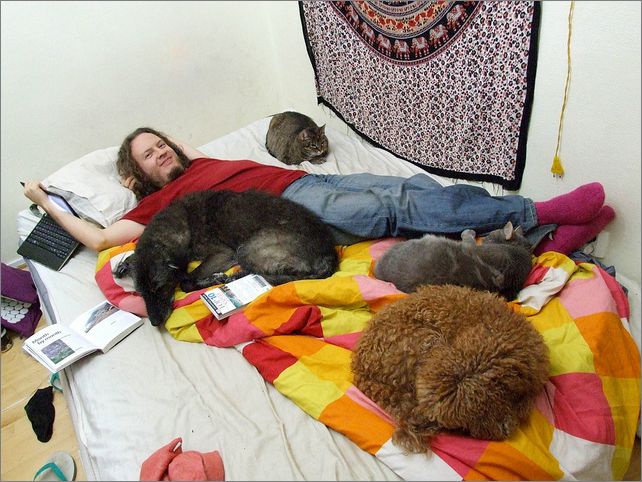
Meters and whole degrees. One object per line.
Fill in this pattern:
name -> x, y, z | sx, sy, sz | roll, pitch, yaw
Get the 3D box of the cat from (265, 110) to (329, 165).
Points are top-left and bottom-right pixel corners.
cat -> -0.194, -0.778, 3.726 | 0.341, 0.243, 0.480 | -30, 62, -16

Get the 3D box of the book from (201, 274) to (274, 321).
book -> -0.420, 0.267, 2.479 | 0.274, 0.042, 0.195 | -28, 42, -24

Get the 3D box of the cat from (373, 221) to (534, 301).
cat -> 0.670, 0.084, 2.381 | 0.557, 0.299, 0.421 | -16, 34, -22

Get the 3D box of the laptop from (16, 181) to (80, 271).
laptop -> -1.647, -0.088, 3.044 | 0.395, 0.356, 0.297 | 34, 30, 13
